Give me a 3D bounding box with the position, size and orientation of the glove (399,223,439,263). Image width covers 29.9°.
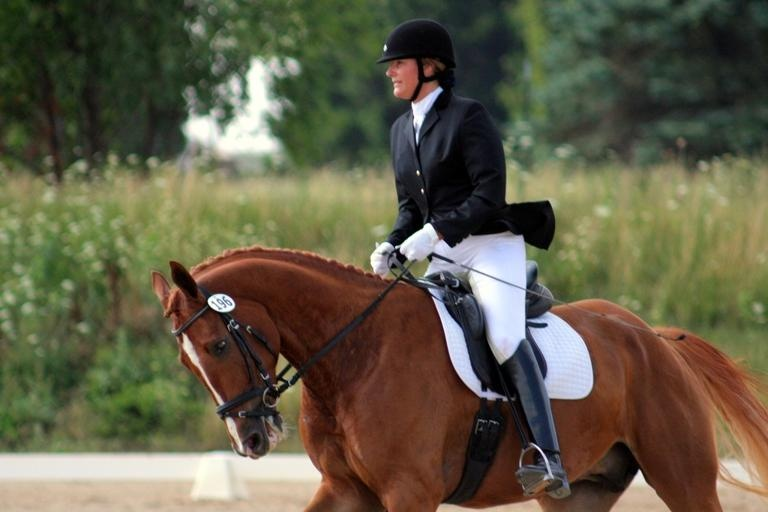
[{"bbox_3d":[0.380,-0.128,15.540,0.330,0.442,0.202,39,5,-3],"label":"glove"}]
